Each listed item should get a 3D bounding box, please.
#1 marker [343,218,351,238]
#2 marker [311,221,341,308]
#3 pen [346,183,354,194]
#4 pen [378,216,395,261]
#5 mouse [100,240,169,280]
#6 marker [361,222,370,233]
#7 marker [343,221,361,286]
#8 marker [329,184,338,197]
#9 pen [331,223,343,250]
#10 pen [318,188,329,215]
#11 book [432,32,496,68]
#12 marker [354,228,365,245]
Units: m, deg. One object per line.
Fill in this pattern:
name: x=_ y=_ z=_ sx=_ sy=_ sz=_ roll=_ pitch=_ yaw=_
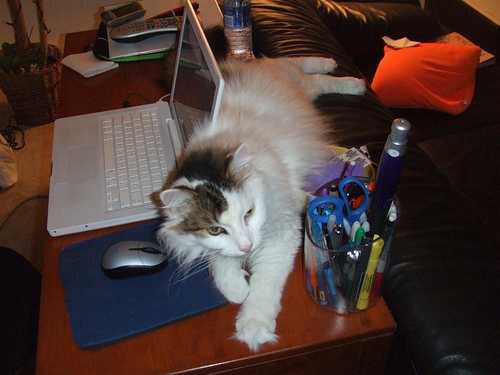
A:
marker: x=0.269 y=0.113 z=1.140 sx=0.012 sy=0.015 sz=0.058 roll=-10 pitch=82 yaw=-22
marker: x=0.219 y=0.228 z=1.137 sx=0.039 sy=0.400 sz=0.045 roll=-20 pitch=25 yaw=-23
pen: x=0.289 y=-0.004 z=1.168 sx=0.012 sy=0.010 sz=0.045 roll=19 pitch=76 yaw=46
pen: x=0.375 y=0.129 z=1.109 sx=0.020 sy=0.023 sz=0.139 roll=19 pitch=85 yaw=43
mouse: x=-0.347 y=0.216 z=1.213 sx=0.170 sy=0.059 sz=0.112 roll=-7 pitch=60 yaw=-6
marker: x=0.317 y=0.108 z=1.090 sx=0.016 sy=0.006 sz=0.025 roll=6 pitch=81 yaw=1
marker: x=0.274 y=0.206 z=1.150 sx=0.029 sy=0.218 sz=0.026 roll=5 pitch=10 yaw=-26
marker: x=0.240 y=0.008 z=1.182 sx=0.023 sy=0.028 sz=0.025 roll=-31 pitch=48 yaw=-6
pen: x=0.238 y=0.139 z=1.106 sx=0.026 sy=0.056 sz=0.036 roll=0 pitch=39 yaw=1
pen: x=0.207 y=0.042 z=1.142 sx=0.019 sy=0.084 sz=0.019 roll=35 pitch=40 yaw=29
book: x=1.178 y=-0.744 z=2.210 sx=0.248 sy=0.152 sz=0.371 roll=0 pitch=45 yaw=-3
marker: x=0.296 y=0.132 z=1.092 sx=0.023 sy=0.043 sz=0.020 roll=-25 pitch=44 yaw=-27
